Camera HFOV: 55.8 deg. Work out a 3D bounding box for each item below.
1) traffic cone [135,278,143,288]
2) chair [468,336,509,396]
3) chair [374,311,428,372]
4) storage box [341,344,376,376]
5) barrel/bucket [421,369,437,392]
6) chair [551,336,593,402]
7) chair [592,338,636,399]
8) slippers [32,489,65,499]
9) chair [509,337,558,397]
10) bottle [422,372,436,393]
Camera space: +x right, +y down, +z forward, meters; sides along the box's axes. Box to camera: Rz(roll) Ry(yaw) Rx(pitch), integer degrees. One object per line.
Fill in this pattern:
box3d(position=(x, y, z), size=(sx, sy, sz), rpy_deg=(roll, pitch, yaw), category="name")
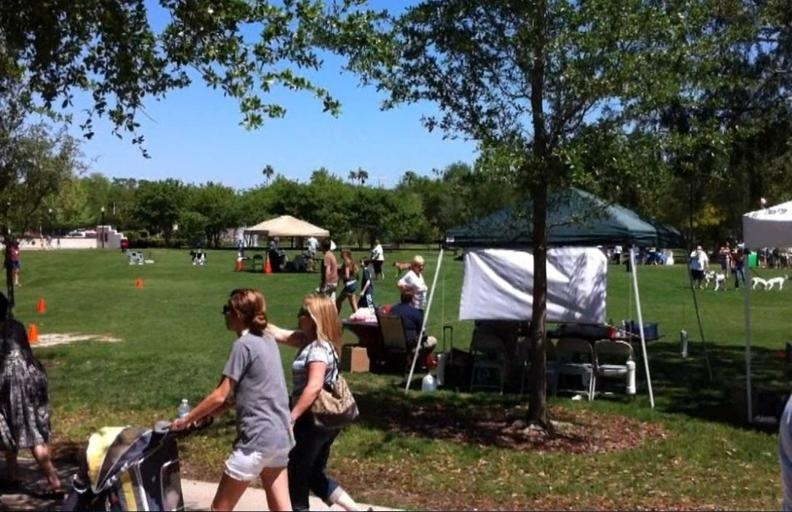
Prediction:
box3d(position=(-10.969, 1.188, 31.957), size=(0.261, 0.703, 0.211), rpy_deg=(-3, 11, -28), category="traffic cone")
box3d(position=(1.892, 2.166, 15.368), size=(0.759, 1.098, 0.741), rpy_deg=(4, 13, 11), category="chair")
box3d(position=(0.054, 1.884, 16.629), size=(1.046, 1.759, 1.265), rpy_deg=(3, 5, 35), category="chair")
box3d(position=(-0.875, 2.337, 16.561), size=(0.538, 0.573, 0.562), rpy_deg=(-1, -2, 16), category="storage box")
box3d(position=(0.630, 2.529, 15.165), size=(0.371, 0.562, 0.274), rpy_deg=(2, 0, -37), category="barrel/bucket")
box3d(position=(3.678, 2.288, 15.324), size=(0.877, 1.311, 0.948), rpy_deg=(2, 7, 30), category="chair")
box3d(position=(4.351, 2.172, 15.034), size=(0.940, 1.174, 1.190), rpy_deg=(-2, -1, -11), category="chair")
box3d(position=(-4.638, 3.159, 10.053), size=(0.413, 0.174, 0.157), rpy_deg=(5, -11, 9), category="slippers")
box3d(position=(2.865, 2.289, 15.513), size=(0.803, 1.449, 1.077), rpy_deg=(0, -16, 9), category="chair")
box3d(position=(0.639, 2.585, 15.186), size=(0.271, 0.306, 0.304), rpy_deg=(-1, -5, 19), category="bottle")
